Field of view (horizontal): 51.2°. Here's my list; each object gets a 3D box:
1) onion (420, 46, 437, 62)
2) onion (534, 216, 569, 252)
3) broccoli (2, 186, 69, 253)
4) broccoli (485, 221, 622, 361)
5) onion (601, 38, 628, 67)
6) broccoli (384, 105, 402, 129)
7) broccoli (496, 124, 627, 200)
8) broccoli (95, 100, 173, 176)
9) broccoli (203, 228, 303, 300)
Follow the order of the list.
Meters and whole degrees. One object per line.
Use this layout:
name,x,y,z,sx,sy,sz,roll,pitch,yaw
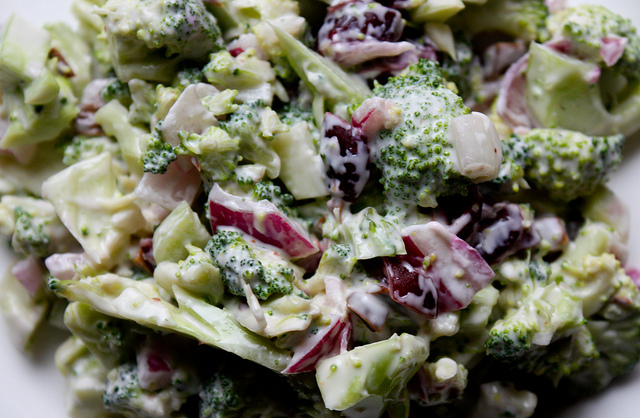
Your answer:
onion,0.297,-0.429,1.829,0.038,0.056,0.020,-9,37,-18
onion,0.625,0.060,1.794,0.084,0.096,0.027,-16,-16,4
broccoli,-0.783,0.040,1.824,0.211,0.177,0.076,14,-6,6
broccoli,0.607,0.229,1.760,0.435,0.089,0.261,-32,31,-23
onion,0.774,-0.419,1.766,0.063,0.076,0.024,-21,-7,11
broccoli,0.176,-0.226,1.627,0.035,0.049,0.015,26,11,35
broccoli,0.631,-0.128,1.756,0.338,0.215,0.128,-9,20,-2
broccoli,-0.483,-0.176,1.761,0.058,0.177,0.226,11,29,-52
broccoli,-0.201,0.135,1.731,0.246,0.131,0.375,9,11,-19
